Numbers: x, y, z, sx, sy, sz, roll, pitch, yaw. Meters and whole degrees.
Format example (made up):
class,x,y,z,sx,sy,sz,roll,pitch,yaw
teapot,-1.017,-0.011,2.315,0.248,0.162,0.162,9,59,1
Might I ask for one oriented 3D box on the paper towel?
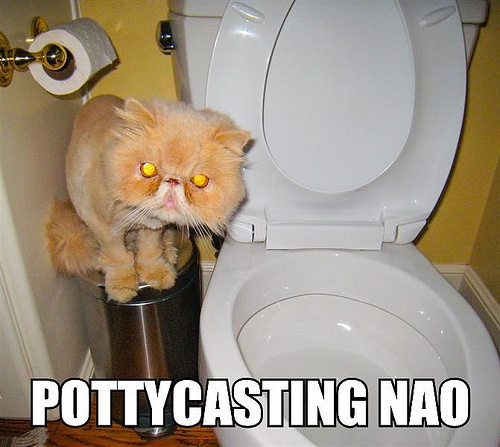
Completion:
class,x,y,z,sx,sy,sz,roll,pitch,yaw
paper towel,-0.321,-0.313,0.866,0.133,0.165,0.172,7,24,1
